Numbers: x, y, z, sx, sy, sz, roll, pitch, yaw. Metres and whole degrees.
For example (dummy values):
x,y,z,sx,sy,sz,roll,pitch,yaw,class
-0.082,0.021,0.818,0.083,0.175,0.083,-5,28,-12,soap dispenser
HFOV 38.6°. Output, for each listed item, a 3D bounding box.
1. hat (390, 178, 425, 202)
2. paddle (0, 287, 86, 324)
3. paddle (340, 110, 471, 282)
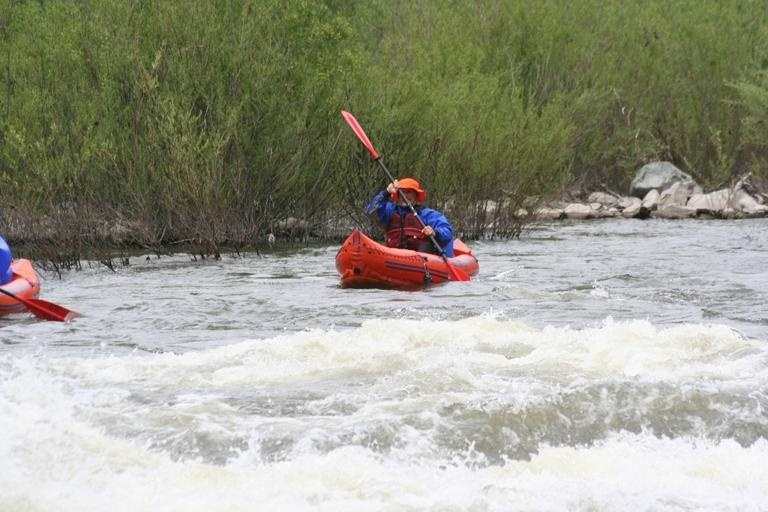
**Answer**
x,y,z,sx,sy,sz,roll,pitch,yaw,class
0.457,-1.246,19.130,0.421,0.206,0.526,2,-19,9,hat
-5.189,0.768,16.535,0.949,0.191,0.162,20,-24,3,paddle
0.333,-1.248,21.065,0.339,4.421,0.682,-45,-14,4,paddle
